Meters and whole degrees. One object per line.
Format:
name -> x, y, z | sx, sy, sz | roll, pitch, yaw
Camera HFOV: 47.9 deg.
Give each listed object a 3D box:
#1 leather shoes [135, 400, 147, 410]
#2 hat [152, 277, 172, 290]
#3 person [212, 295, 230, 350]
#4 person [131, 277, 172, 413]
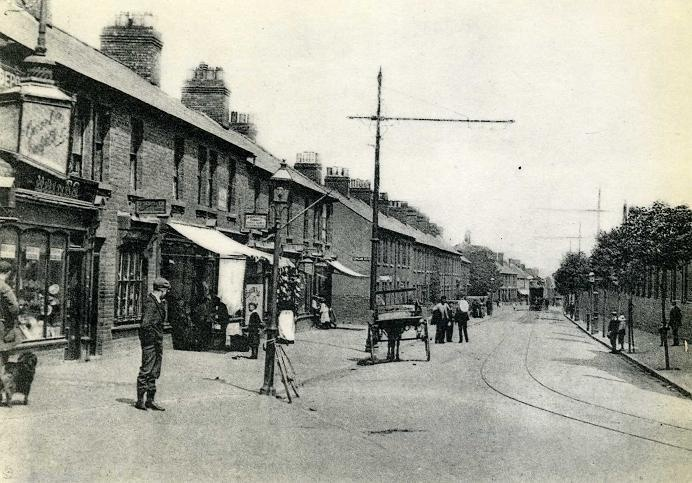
leather shoes -> -4.250, 3.381, 16.142 | 0.231, 0.186, 0.198 | 1, 4, -16
hat -> -3.889, 0.902, 16.514 | 0.257, 0.193, 0.364 | 6, 7, 8
person -> -3.922, 2.617, 24.556 | 0.432, 1.555, 0.855 | 11, -42, -15
person -> -4.072, 2.143, 16.333 | 0.640, 2.703, 0.763 | 1, 5, -14
